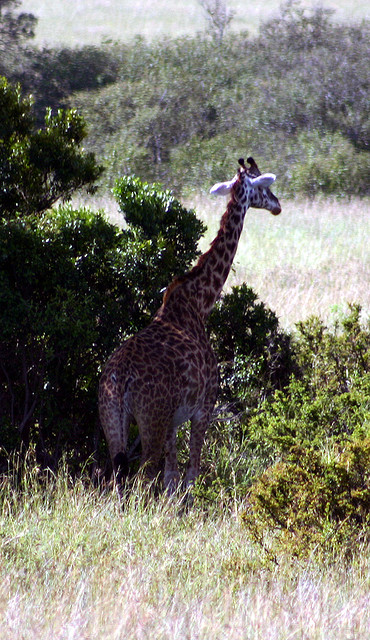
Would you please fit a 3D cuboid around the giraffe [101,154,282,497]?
[{"bbox_3d":[0.018,0.106,6.668,0.513,2.166,1.786,4,7,26],"label":"giraffe"}]
